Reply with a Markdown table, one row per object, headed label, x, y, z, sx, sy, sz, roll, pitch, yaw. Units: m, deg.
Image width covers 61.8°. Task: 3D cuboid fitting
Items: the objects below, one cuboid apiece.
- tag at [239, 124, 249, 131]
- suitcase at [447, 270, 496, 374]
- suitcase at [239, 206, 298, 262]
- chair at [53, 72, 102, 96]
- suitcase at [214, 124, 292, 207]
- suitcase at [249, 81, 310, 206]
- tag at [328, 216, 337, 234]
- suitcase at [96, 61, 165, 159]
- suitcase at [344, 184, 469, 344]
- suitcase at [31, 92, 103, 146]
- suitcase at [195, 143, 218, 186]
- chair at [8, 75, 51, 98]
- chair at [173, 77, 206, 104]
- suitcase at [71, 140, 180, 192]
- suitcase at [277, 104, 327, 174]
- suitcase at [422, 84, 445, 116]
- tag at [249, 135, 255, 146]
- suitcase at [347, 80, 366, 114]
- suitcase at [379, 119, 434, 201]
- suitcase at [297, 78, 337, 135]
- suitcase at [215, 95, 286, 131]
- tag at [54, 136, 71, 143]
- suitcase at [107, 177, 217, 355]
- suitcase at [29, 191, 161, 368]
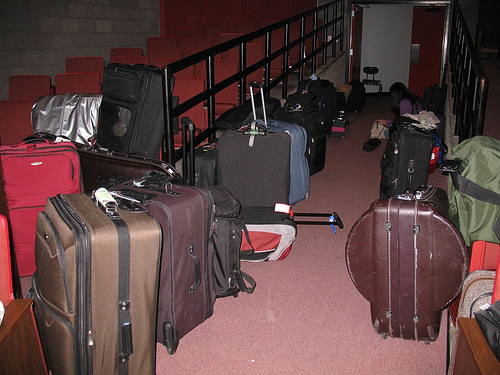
| label | x | y | z | sx | sy | sz | roll | pitch | yaw |
| --- | --- | --- | --- | --- | --- | --- | --- | --- | --- |
| tag | -0.041 | -0.416 | 2.927 | 0.068 | 0.026 | 0.050 | -23 | 4 | -2 |
| suitcase | 0.841 | 0.562 | 1.597 | 0.131 | 0.447 | 0.426 | 5 | 14 | 29 |
| suitcase | 0.109 | 0.256 | 2.624 | 0.297 | 0.178 | 0.368 | 3 | 12 | -1 |
| chair | -1.774 | -1.056 | 4.245 | 0.489 | 0.198 | 0.261 | -3 | 12 | -7 |
| suitcase | 0.015 | -0.128 | 2.722 | 0.425 | 0.660 | 0.232 | 2 | 17 | 4 |
| suitcase | 0.277 | -0.342 | 3.314 | 0.337 | 0.923 | 0.565 | -2 | 12 | 5 |
| tag | 0.616 | 0.274 | 3.126 | 0.030 | 0.029 | 0.112 | 10 | 47 | -19 |
| suitcase | -0.771 | -0.484 | 2.710 | 0.401 | 0.721 | 0.365 | 20 | 19 | 25 |
| suitcase | 0.831 | 0.318 | 2.271 | 0.556 | 0.850 | 0.832 | -2 | 16 | 22 |
| suitcase | -1.360 | -0.489 | 3.091 | 0.460 | 0.402 | 0.283 | 3 | 1 | 0 |
| suitcase | -0.299 | -0.144 | 2.845 | 0.145 | 0.286 | 0.188 | 9 | 23 | 19 |
| chair | -2.336 | -1.063 | 4.413 | 0.527 | 0.228 | 0.130 | 3 | 13 | 18 |
| chair | -0.557 | -0.876 | 3.753 | 0.274 | 0.214 | 0.124 | -4 | 12 | -12 |
| suitcase | -0.747 | -0.119 | 2.395 | 0.472 | 0.190 | 0.353 | 5 | 15 | 5 |
| suitcase | 0.466 | -0.537 | 4.222 | 0.630 | 0.749 | 0.462 | 2 | 30 | 9 |
| suitcase | 2.577 | -1.230 | 5.839 | 0.269 | 0.391 | 0.342 | 3 | 13 | 18 |
| tag | 0.011 | -0.300 | 2.704 | 0.040 | 0.073 | 0.015 | -2 | 12 | -5 |
| suitcase | 1.870 | -1.528 | 7.172 | 0.307 | 0.554 | 0.570 | 3 | 15 | 24 |
| suitcase | 1.206 | -0.206 | 3.201 | 0.341 | 0.746 | 0.509 | 1 | 20 | 5 |
| suitcase | 0.842 | -1.028 | 5.183 | 0.304 | 0.605 | 0.410 | 5 | 19 | 40 |
| suitcase | -0.012 | -0.599 | 3.362 | 0.569 | 0.188 | 0.441 | -22 | 28 | 2 |
| tag | -1.184 | -0.299 | 2.618 | 0.087 | 0.036 | 0.054 | 1 | 5 | -27 |
| suitcase | -0.389 | 0.349 | 2.013 | 0.446 | 0.638 | 0.497 | -5 | -5 | -16 |
| suitcase | -0.639 | 0.403 | 1.735 | 0.482 | 0.743 | 0.375 | -8 | 14 | -31 |
